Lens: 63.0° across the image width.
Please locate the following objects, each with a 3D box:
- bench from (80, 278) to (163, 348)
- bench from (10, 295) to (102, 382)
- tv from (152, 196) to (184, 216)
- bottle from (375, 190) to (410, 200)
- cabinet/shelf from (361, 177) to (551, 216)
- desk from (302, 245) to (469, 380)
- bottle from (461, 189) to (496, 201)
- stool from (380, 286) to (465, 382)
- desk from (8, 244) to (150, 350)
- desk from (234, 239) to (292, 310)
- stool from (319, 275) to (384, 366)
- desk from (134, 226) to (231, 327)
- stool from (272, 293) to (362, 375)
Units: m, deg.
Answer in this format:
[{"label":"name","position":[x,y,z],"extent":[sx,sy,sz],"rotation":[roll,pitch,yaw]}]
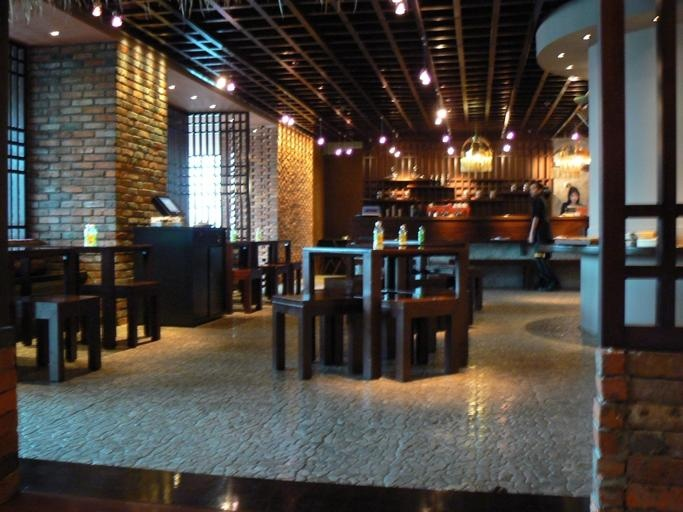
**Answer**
[{"label":"bench","position":[-2.077,0.495,5.314],"extent":[0.632,0.670,0.630],"rotation":[0,-2,-10]},{"label":"bench","position":[-2.288,0.575,4.142],"extent":[0.726,0.558,0.705],"rotation":[5,3,-45]},{"label":"tv","position":[-2.127,-0.613,6.829],"extent":[0.321,0.116,0.298],"rotation":[47,15,25]},{"label":"bottle","position":[1.269,-1.492,13.624],"extent":[0.803,0.268,0.419],"rotation":[0,4,3]},{"label":"cabinet/shelf","position":[2.811,-1.438,13.644],"extent":[4.504,1.193,0.577],"rotation":[0,-18,4]},{"label":"desk","position":[0.573,0.412,4.297],"extent":[0.724,0.804,0.934],"rotation":[5,-1,38]},{"label":"bottle","position":[3.279,-1.484,13.466],"extent":[0.858,0.281,0.414],"rotation":[0,4,10]},{"label":"stool","position":[0.519,0.593,4.220],"extent":[0.744,0.541,0.745],"rotation":[-1,-1,2]},{"label":"desk","position":[-2.366,0.389,5.290],"extent":[1.222,0.941,1.288],"rotation":[-3,1,14]},{"label":"desk","position":[-1.137,0.251,8.007],"extent":[0.300,0.909,1.850],"rotation":[-7,0,11]},{"label":"stool","position":[0.017,0.633,4.267],"extent":[0.325,0.518,0.535],"rotation":[18,-21,-16]},{"label":"desk","position":[-1.857,0.205,6.540],"extent":[0.714,1.050,0.952],"rotation":[1,3,5]},{"label":"stool","position":[-0.171,0.597,4.193],"extent":[0.613,0.501,0.640],"rotation":[-5,-6,43]}]
